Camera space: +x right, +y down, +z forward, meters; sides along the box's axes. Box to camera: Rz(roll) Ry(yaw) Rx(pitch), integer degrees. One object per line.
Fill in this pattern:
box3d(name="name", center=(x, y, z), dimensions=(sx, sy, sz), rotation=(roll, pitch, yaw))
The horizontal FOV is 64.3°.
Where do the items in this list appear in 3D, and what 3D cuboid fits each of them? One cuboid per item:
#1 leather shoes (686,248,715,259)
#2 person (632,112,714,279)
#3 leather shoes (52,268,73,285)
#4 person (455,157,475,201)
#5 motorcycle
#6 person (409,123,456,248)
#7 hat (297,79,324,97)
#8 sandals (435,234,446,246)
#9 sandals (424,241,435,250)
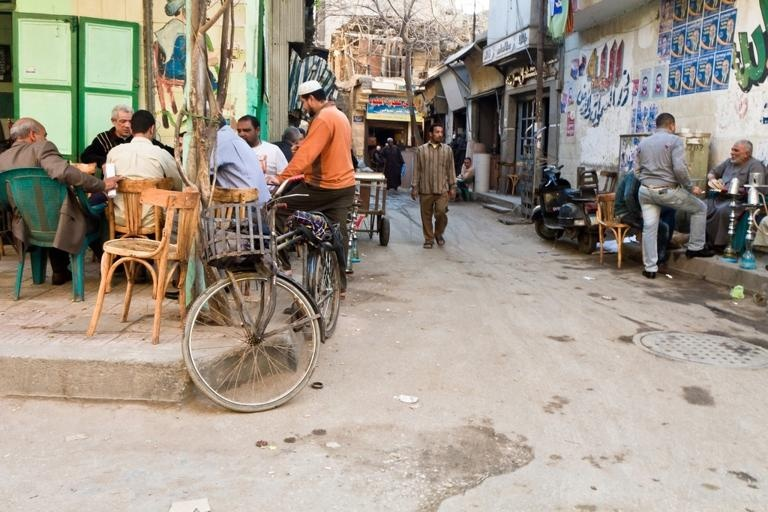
box3d(name="leather shoes", center=(4.931, -0.039, 9.590), dimensions=(0.454, 0.199, 0.158), rotation=(-1, 11, 6))
box3d(name="person", center=(4.473, -0.912, 9.434), dimensions=(0.946, 2.486, 0.781), rotation=(0, 9, -3))
box3d(name="leather shoes", center=(-3.868, 0.239, 7.335), dimensions=(0.105, 0.219, 0.318), rotation=(5, 17, 4))
box3d(name="person", center=(2.999, -2.768, 22.139), dimensions=(0.588, 1.472, 1.668), rotation=(2, 8, 9))
box3d(name="motorcycle", center=(3.574, -0.936, 11.941), dimensions=(0.874, 1.568, 1.890), rotation=(1, 8, 2))
box3d(name="person", center=(0.956, -1.347, 11.914), dimensions=(0.811, 2.322, 0.906), rotation=(3, 9, 15))
box3d(name="hat", center=(-0.829, -1.819, 6.733), dimensions=(0.231, 0.197, 0.508), rotation=(-1, 8, -9))
box3d(name="sandals", center=(1.117, -0.310, 12.172), dimensions=(0.229, 0.172, 0.427), rotation=(1, 2, 3))
box3d(name="sandals", center=(0.865, -0.192, 11.756), dimensions=(0.161, 0.204, 0.498), rotation=(0, 1, 7))
